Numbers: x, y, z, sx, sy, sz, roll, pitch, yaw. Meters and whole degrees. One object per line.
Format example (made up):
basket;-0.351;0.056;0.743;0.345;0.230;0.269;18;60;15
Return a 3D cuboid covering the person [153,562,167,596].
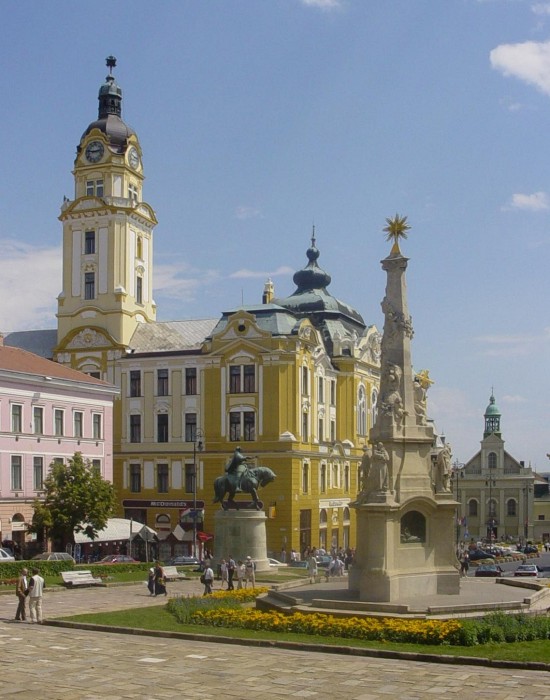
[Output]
person;-4.325;8.706;52.215;0.461;1.093;1.557;0;-8;-5

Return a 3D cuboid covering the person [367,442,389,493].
person;3.349;3.758;43.846;0.573;1.640;0.999;1;-9;-14

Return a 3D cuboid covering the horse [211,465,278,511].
horse;-1.459;6.319;63.042;2.336;1.960;2.389;-3;-9;16

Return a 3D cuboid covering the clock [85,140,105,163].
clock;-12.008;-13.175;93.113;0.125;1.177;1.177;-13;-35;-52

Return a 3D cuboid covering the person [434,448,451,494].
person;5.541;3.984;45.578;0.480;1.576;1.283;-2;-8;7

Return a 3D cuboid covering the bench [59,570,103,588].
bench;-7.665;9.063;54.572;0.802;0.629;2.076;-4;-9;23
